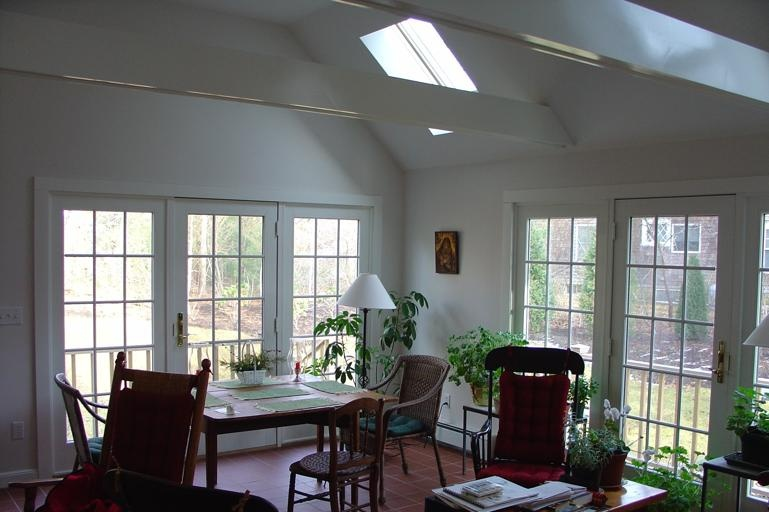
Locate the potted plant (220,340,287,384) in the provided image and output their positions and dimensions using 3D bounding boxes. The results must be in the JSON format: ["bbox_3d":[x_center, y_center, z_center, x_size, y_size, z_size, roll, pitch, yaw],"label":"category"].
[{"bbox_3d":[-1.310,0.964,4.911,0.520,0.357,0.481,2,-4,10],"label":"potted plant"}]

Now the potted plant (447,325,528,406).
[{"bbox_3d":[0.887,1.004,5.312,0.882,0.835,0.662,1,-9,-6],"label":"potted plant"}]

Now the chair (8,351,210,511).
[{"bbox_3d":[-1.401,0.945,3.176,0.703,0.684,0.327,0,-3,15],"label":"chair"}]

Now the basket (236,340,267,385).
[{"bbox_3d":[-1.173,0.951,4.935,0.357,0.475,0.358,2,-5,-12],"label":"basket"}]
